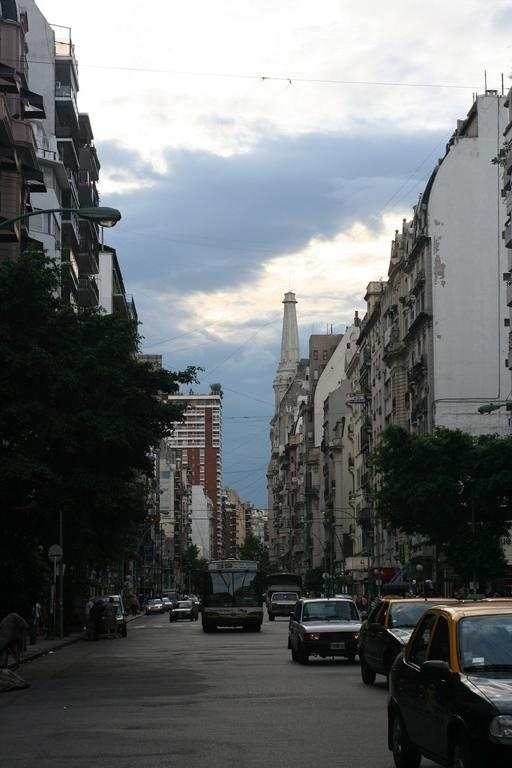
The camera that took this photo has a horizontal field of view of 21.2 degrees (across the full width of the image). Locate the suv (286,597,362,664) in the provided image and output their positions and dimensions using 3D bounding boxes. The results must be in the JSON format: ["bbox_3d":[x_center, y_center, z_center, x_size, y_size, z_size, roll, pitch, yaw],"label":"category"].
[{"bbox_3d":[1.236,4.799,26.712,1.217,1.323,2.591,1,-7,-7],"label":"suv"}]

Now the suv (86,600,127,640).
[{"bbox_3d":[-5.083,7.980,46.689,0.801,1.186,1.850,-4,-24,-4],"label":"suv"}]

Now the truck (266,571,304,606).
[{"bbox_3d":[1.834,13.026,90.130,1.455,2.330,3.383,1,-16,-2],"label":"truck"}]

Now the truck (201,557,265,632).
[{"bbox_3d":[-0.890,7.658,50.263,2.125,2.362,1.152,1,-9,-10],"label":"truck"}]

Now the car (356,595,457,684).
[{"bbox_3d":[2.192,3.788,19.676,1.133,1.340,2.594,4,-10,-7],"label":"car"}]
